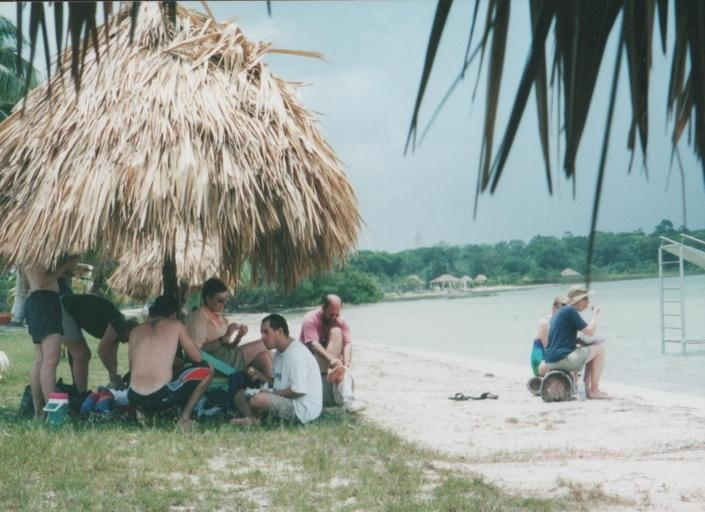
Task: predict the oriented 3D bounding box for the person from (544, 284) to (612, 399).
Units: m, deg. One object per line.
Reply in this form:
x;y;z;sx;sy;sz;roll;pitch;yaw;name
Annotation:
3.452;1.404;13.751;0.871;1.739;1.512;0;-4;24;person
